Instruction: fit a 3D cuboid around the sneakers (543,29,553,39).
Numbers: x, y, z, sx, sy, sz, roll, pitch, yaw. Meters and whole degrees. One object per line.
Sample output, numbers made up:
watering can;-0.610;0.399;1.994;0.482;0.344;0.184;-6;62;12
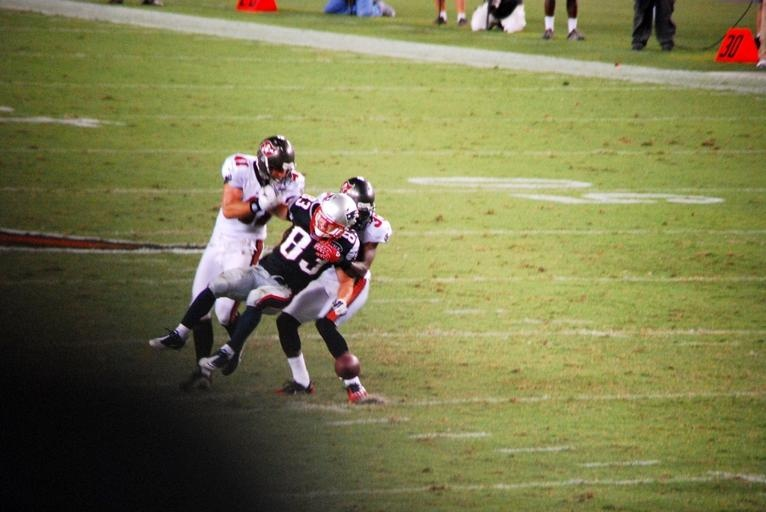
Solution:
sneakers;2.717;-3.670;20.712;0.115;0.075;0.167;5;-5;2

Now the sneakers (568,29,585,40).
sneakers;3.193;-3.675;20.817;0.142;0.144;0.364;4;-1;8

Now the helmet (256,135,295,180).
helmet;-1.034;-0.915;11.926;0.360;0.406;0.462;-4;6;-40

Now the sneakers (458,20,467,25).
sneakers;1.388;-4.142;22.154;0.096;0.102;0.249;-2;3;4

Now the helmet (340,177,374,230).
helmet;-0.255;-0.468;11.595;0.309;0.379;0.351;-9;-23;-27

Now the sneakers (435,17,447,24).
sneakers;1.005;-4.185;22.197;0.134;0.084;0.163;-2;10;-20

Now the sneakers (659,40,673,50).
sneakers;4.572;-3.400;20.209;0.147;0.131;0.163;-4;-9;37

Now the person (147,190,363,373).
person;-1.044;0.255;11.615;1.600;1.771;0.591;1;18;-23

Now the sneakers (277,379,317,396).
sneakers;-0.816;1.235;11.682;0.382;0.146;0.130;5;-3;-1
